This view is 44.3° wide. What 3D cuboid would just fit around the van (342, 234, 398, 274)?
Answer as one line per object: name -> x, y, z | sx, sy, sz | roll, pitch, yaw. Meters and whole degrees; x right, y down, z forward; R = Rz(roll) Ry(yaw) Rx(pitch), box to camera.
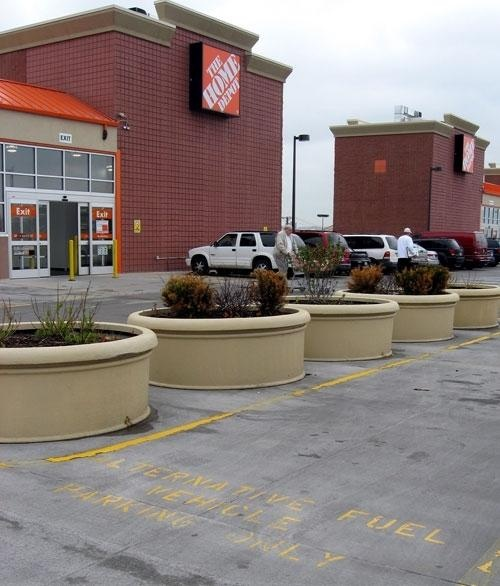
van -> 5.790, -1.975, 30.573 | 4.065, 1.736, 1.909 | 12, 10, 38
